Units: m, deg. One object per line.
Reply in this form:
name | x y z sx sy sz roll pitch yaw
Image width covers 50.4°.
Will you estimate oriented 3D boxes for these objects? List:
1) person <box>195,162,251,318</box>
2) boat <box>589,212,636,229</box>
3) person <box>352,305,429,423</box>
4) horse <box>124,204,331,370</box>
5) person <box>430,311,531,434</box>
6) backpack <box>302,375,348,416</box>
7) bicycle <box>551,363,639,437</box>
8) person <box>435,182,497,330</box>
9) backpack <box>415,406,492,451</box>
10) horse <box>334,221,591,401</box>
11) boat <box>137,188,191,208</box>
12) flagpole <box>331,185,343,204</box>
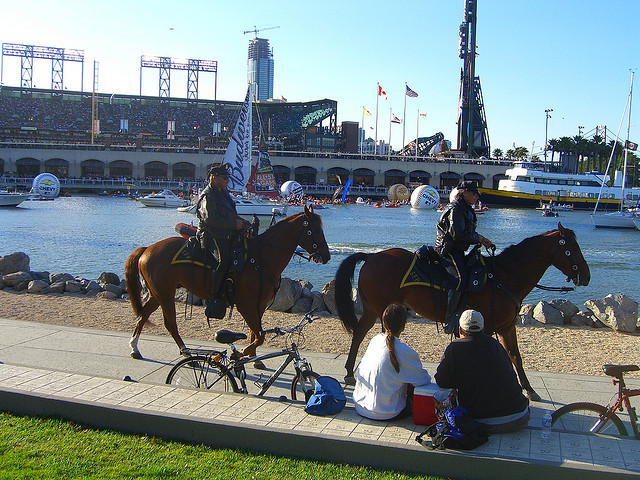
person | -1.803 0.010 11.974 0.677 2.591 0.713 6 10 30
boat | 26.747 -1.736 62.159 4.619 1.217 1.621 4 -2 8
person | 1.010 1.860 10.027 0.976 1.412 1.085 16 23 30
horse | -1.749 0.937 12.418 3.875 3.133 1.036 2 6 9
person | 2.219 1.861 9.425 1.056 1.477 1.009 -13 20 -4
backpack | 0.064 2.236 9.697 0.665 0.482 0.457 3 -3 -34
bicycle | 3.863 2.165 9.592 1.504 1.002 0.781 -7 3 7
person | 2.366 0.209 11.379 0.873 2.336 0.802 -5 10 -32
backpack | 1.796 2.434 8.793 0.795 0.458 0.327 1 9 1
horse | 2.187 1.031 11.418 4.023 2.715 1.050 3 9 11
boat | -18.241 -4.562 80.924 7.431 2.782 2.536 -7 12 -40
flagpole | 2.654 -7.301 101.954 0.900 3.256 0.864 21 -3 26
